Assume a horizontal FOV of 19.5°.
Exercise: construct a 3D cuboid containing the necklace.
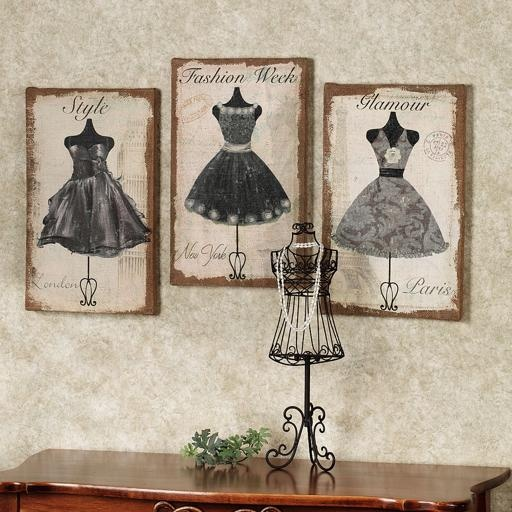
[{"bbox_3d":[0.133,0.096,4.918,0.148,0.300,0.062,0,-9,2],"label":"necklace"}]
